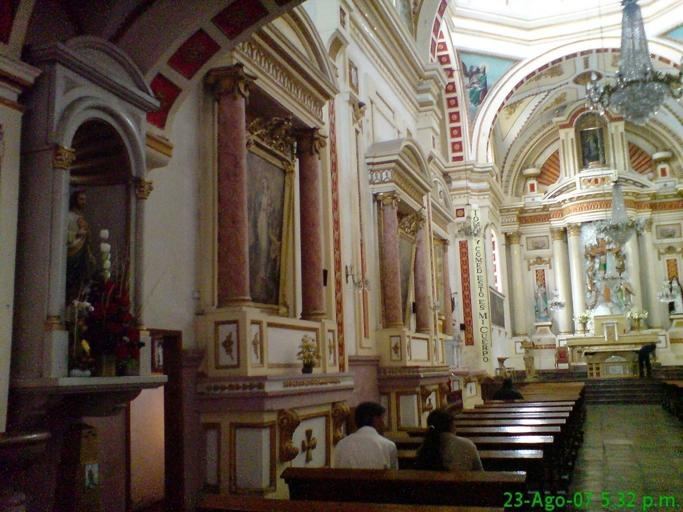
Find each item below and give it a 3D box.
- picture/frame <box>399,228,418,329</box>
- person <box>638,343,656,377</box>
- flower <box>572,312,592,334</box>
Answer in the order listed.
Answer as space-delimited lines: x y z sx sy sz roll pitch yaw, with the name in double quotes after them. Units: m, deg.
1.197 0.457 10.350 0.084 1.879 1.585 -5 -8 22 "picture/frame"
9.734 3.297 18.223 0.526 1.012 2.069 -5 -9 28 "person"
9.057 2.528 21.539 0.635 0.895 0.725 -6 -9 40 "flower"
